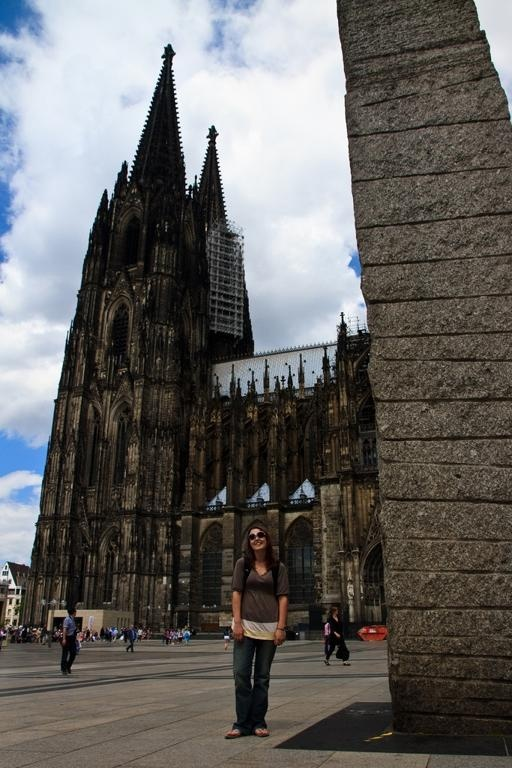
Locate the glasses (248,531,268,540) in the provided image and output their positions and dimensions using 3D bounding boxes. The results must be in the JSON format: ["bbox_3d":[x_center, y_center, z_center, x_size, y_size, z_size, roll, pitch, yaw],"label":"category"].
[{"bbox_3d":[0.006,0.859,3.481,0.062,0.028,0.064,-5,-39,9],"label":"glasses"}]

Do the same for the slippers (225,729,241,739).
[{"bbox_3d":[-0.108,1.696,2.987,0.031,0.036,0.084,-7,-27,12],"label":"slippers"}]

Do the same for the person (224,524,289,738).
[{"bbox_3d":[0.015,1.330,3.367,0.338,1.083,0.570,-3,-13,2],"label":"person"}]
